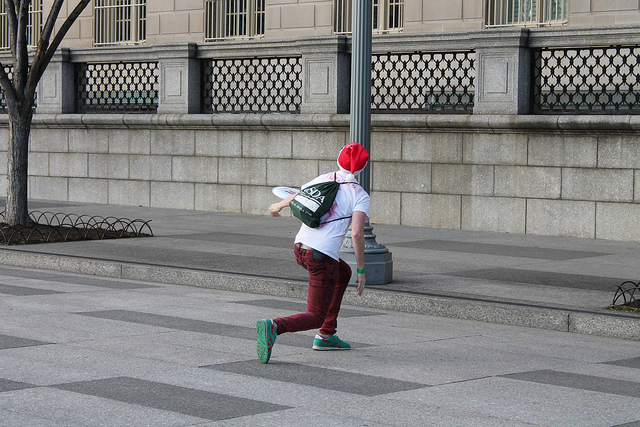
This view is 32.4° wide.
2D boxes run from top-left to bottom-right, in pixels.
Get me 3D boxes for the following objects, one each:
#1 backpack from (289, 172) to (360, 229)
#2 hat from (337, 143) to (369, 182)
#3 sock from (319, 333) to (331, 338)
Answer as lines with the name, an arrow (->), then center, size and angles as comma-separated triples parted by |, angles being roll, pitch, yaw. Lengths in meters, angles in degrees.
backpack -> -0.047, -0.154, 13.165 | 0.605, 0.600, 0.268 | 2, 6, -1
hat -> 0.371, -0.598, 13.352 | 0.355, 0.504, 0.254 | 15, -26, 7
sock -> 0.061, 1.488, 13.481 | 0.123, 0.039, 0.019 | 2, 6, 0
